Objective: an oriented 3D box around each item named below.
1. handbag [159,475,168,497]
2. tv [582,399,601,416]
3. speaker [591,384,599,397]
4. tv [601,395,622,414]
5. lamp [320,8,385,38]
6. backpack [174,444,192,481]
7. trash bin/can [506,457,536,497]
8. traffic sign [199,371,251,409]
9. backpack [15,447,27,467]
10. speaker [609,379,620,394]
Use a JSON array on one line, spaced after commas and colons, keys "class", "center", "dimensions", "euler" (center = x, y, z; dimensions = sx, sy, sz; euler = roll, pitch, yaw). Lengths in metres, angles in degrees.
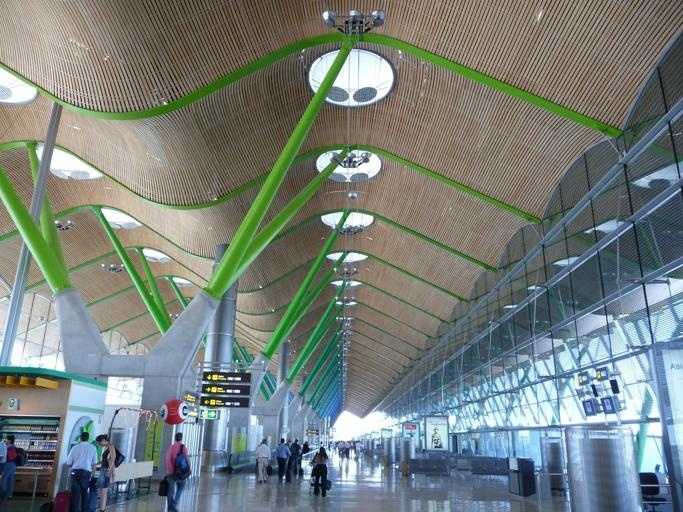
[{"class": "handbag", "center": [-4.910, 6.371, 13.421], "dimensions": [0.198, 0.473, 0.477], "euler": [12, -24, -27]}, {"class": "tv", "center": [8.714, 5.346, 16.968], "dimensions": [0.239, 0.623, 0.640], "euler": [-3, -4, -13]}, {"class": "speaker", "center": [8.659, 4.651, 16.631], "dimensions": [0.184, 0.451, 0.273], "euler": [18, -26, -38]}, {"class": "tv", "center": [8.723, 4.856, 15.793], "dimensions": [0.487, 0.533, 0.518], "euler": [-9, -16, 35]}, {"class": "lamp", "center": [0.470, -8.368, 18.109], "dimensions": [1.829, 0.711, 0.981], "euler": [0, -28, -4]}, {"class": "backpack", "center": [-4.412, 5.710, 13.439], "dimensions": [0.425, 0.878, 0.446], "euler": [7, -21, -17]}, {"class": "trash bin/can", "center": [6.692, 8.208, 17.966], "dimensions": [0.799, 1.309, 1.574], "euler": [-2, -21, 9]}, {"class": "traffic sign", "center": [-5.459, 6.353, 22.893], "dimensions": [1.980, 1.553, 0.228], "euler": [0, -26, 0]}, {"class": "backpack", "center": [-9.503, 5.964, 14.407], "dimensions": [0.226, 0.496, 0.427], "euler": [7, -22, -16]}, {"class": "speaker", "center": [8.706, 4.203, 15.520], "dimensions": [0.250, 0.458, 0.325], "euler": [-10, -23, 27]}]
